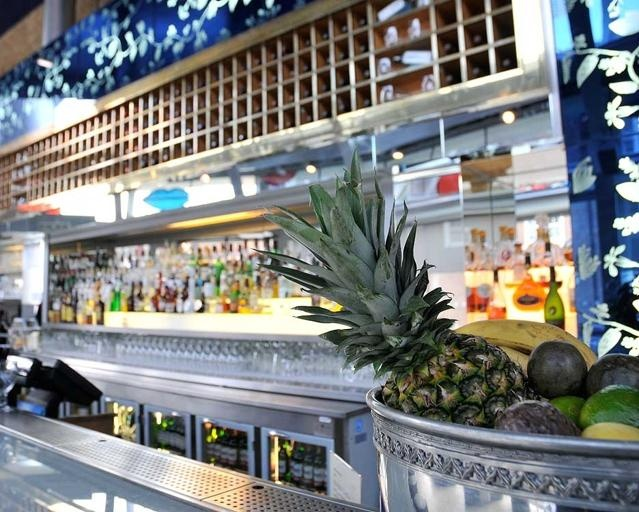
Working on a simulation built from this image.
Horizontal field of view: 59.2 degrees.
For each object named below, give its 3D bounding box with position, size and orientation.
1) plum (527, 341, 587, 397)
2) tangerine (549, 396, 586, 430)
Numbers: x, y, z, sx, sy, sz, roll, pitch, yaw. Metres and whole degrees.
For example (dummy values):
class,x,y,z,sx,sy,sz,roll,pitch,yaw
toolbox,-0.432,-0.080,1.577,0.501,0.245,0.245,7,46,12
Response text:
class,x,y,z,sx,sy,sz,roll,pitch,yaw
plum,0.443,0.226,1.074,0.087,0.108,0.090,-8,-24,5
tangerine,0.438,0.284,1.031,0.052,0.066,0.054,5,-30,-3
